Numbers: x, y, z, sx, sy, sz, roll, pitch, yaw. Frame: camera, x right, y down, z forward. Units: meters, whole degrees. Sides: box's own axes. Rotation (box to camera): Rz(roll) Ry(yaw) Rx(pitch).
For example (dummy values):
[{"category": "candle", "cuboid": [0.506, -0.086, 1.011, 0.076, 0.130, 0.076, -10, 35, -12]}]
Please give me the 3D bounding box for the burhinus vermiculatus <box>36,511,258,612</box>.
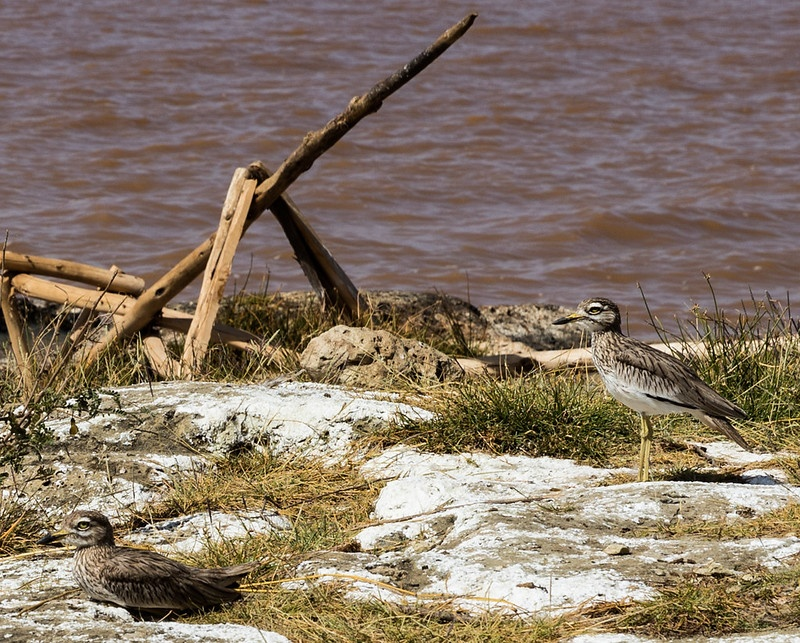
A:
[{"category": "burhinus vermiculatus", "cuboid": [-1.485, 1.461, 8.914, 1.371, 0.633, 0.429, 5, 0, -27]}]
